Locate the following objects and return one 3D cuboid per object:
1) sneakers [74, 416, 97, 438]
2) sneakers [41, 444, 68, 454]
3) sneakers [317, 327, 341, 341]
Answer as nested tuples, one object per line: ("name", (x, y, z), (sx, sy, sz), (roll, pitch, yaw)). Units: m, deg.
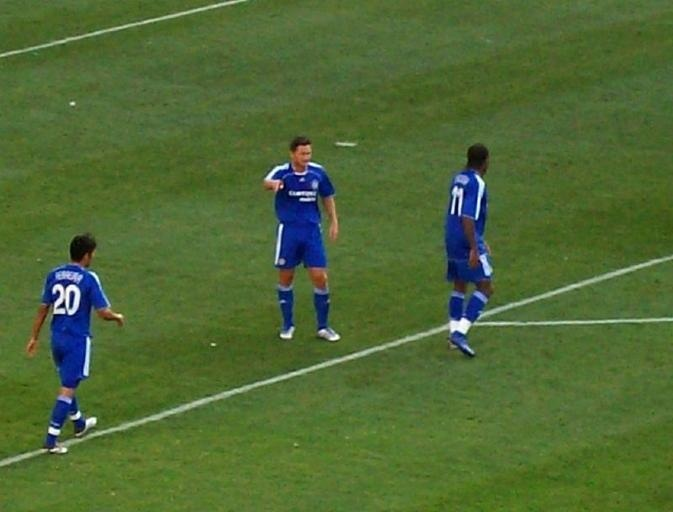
("sneakers", (-2.491, 1.680, 12.394), (0.090, 0.105, 0.251), (11, 33, 23))
("sneakers", (-2.722, 1.838, 12.040), (0.212, 0.092, 0.082), (-2, 36, -20))
("sneakers", (-0.096, 0.870, 13.937), (0.231, 0.097, 0.129), (9, 23, 25))
